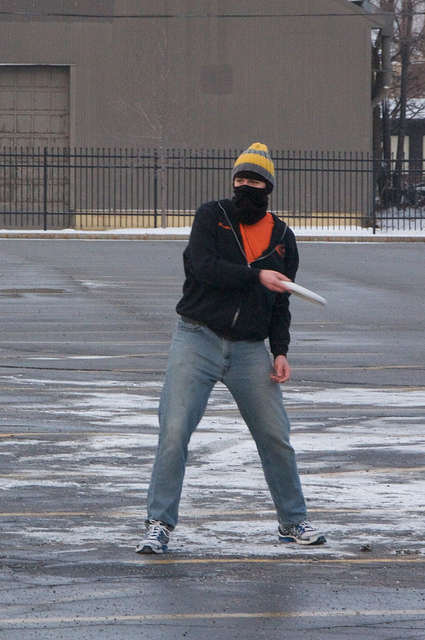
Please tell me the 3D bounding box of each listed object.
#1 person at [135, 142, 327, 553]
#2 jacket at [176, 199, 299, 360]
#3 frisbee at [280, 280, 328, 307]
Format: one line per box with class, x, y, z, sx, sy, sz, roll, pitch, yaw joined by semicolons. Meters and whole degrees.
person;0.087;0.111;7.140;0.868;1.814;0.480;0;3;-12
jacket;0.125;-0.182;7.163;0.554;0.718;0.455;1;3;-8
frisbee;0.400;-0.125;7.096;0.201;0.122;0.523;2;4;2
